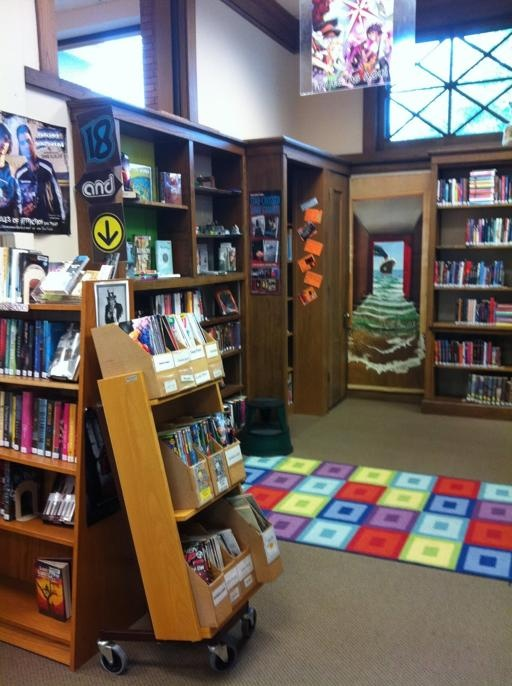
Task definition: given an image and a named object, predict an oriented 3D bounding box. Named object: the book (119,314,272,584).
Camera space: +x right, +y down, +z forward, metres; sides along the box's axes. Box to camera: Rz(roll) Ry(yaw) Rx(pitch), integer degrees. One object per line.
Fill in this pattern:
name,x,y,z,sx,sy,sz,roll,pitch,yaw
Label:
book,-0.229,0.411,1.780,0.565,1.019,0.418,-4,4,-44
